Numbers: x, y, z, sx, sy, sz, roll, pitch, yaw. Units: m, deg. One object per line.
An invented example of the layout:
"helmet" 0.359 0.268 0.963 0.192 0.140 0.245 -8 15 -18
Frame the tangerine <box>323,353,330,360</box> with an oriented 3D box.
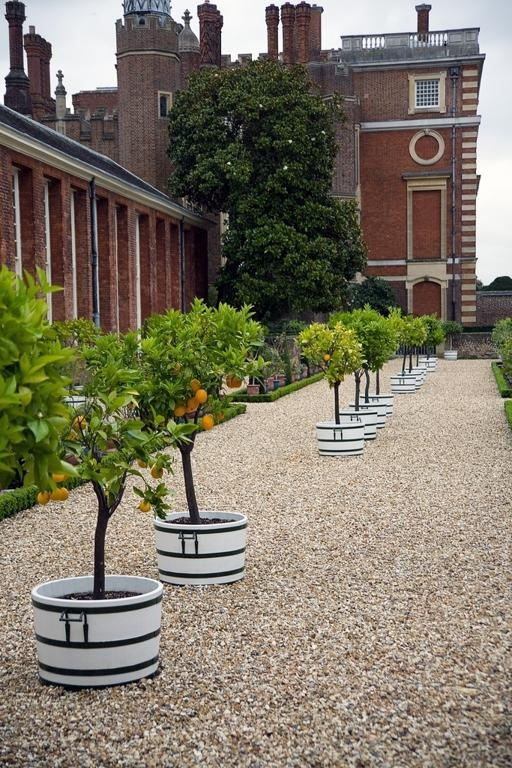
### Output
"tangerine" 0.874 -0.342 12.115 0.067 0.089 0.068 -30 -43 33
